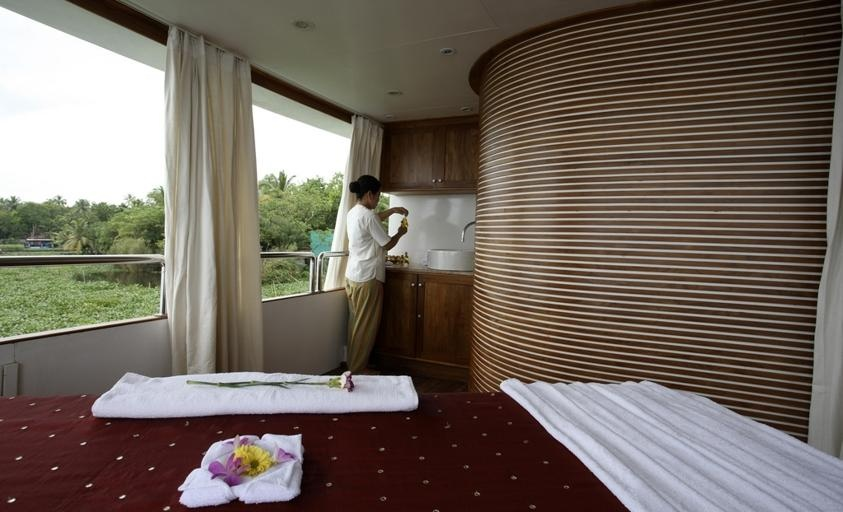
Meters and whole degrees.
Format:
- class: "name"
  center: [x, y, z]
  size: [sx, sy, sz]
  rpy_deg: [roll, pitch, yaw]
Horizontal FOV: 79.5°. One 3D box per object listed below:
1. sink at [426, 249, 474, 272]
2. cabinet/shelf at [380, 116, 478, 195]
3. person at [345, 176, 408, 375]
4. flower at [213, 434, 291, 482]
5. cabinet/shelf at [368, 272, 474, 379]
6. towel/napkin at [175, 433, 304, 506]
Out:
- class: "sink"
  center: [0.319, 0.048, 5.621]
  size: [0.502, 0.213, 0.361]
  rpy_deg: [1, 3, 4]
- class: "cabinet/shelf"
  center: [0.129, -1.216, 6.124]
  size: [1.411, 0.776, 0.470]
  rpy_deg: [-7, 19, -22]
- class: "person"
  center: [-0.504, 0.202, 5.467]
  size: [0.650, 2.135, 0.796]
  rpy_deg: [1, 3, -4]
- class: "flower"
  center: [-0.877, 1.054, 2.584]
  size: [0.251, 0.120, 0.241]
  rpy_deg: [12, 24, 15]
- class: "cabinet/shelf"
  center: [0.033, 0.728, 5.469]
  size: [1.226, 1.018, 0.454]
  rpy_deg: [2, -4, 21]
- class: "towel/napkin"
  center: [-0.876, 1.085, 2.542]
  size: [0.412, 0.100, 0.349]
  rpy_deg: [0, 21, -1]
